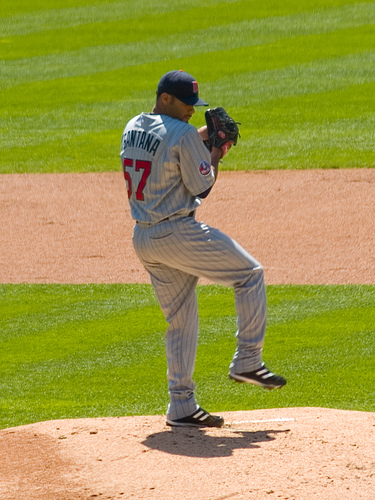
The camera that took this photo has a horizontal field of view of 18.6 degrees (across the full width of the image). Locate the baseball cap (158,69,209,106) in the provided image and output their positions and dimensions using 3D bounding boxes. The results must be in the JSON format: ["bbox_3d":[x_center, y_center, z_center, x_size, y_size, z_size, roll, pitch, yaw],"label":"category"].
[{"bbox_3d":[-0.027,-0.967,6.856,0.328,0.253,0.248,5,-9,22],"label":"baseball cap"}]

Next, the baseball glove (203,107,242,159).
[{"bbox_3d":[0.205,-0.737,7.068,0.099,0.329,0.199,-9,-8,28],"label":"baseball glove"}]

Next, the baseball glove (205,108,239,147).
[{"bbox_3d":[0.209,-0.757,7.059,0.100,0.242,0.173,-27,13,36],"label":"baseball glove"}]
